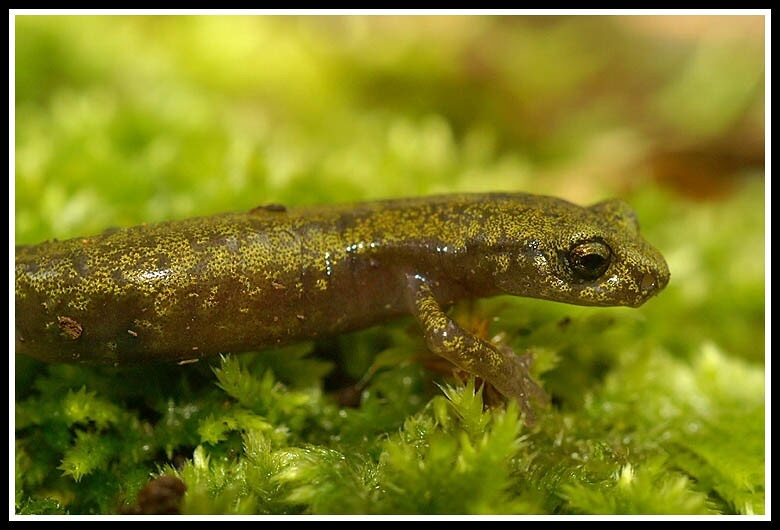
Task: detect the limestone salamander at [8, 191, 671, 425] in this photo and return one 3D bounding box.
[{"bbox_3d":[-0.254,0.317,4.501,1.232,0.678,1.192,-25,40,-29],"label":"limestone salamander"}]
